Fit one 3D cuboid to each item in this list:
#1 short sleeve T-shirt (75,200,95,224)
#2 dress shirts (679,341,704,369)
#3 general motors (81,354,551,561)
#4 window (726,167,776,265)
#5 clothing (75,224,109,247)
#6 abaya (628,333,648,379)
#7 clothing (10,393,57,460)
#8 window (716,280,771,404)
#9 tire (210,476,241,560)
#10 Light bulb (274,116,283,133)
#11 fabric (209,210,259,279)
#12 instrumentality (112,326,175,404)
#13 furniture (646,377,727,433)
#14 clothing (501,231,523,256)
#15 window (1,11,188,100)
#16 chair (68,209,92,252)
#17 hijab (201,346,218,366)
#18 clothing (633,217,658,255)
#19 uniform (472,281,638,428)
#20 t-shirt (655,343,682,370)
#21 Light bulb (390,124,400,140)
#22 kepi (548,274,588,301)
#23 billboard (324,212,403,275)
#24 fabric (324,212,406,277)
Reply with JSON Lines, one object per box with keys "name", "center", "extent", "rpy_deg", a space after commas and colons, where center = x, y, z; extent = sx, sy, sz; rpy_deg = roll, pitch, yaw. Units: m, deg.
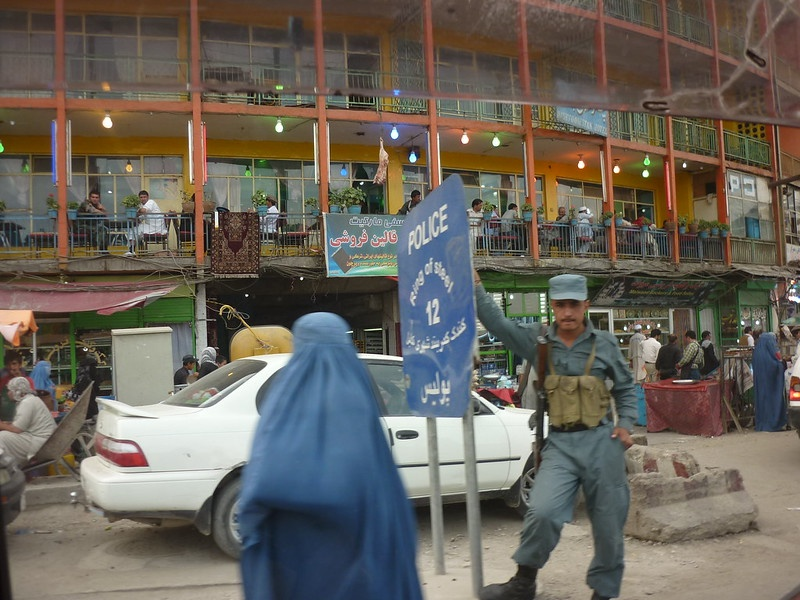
{"name": "short sleeve T-shirt", "center": [-5.940, -1.634, 18.770], "extent": [0.186, 0.451, 0.351], "rpy_deg": [-2, -25, -4]}
{"name": "dress shirts", "center": [5.125, 0.976, 17.430], "extent": [0.604, 0.546, 0.327], "rpy_deg": [2, 0, -37]}
{"name": "general motors", "center": [-0.941, 1.463, 9.954], "extent": [4.742, 1.435, 1.917], "rpy_deg": [-2, -1, -21]}
{"name": "window", "center": [9.697, -2.281, 27.498], "extent": [0.071, 2.697, 2.858], "rpy_deg": [-7, -6, 43]}
{"name": "clothing", "center": [-5.801, -1.195, 18.650], "extent": [0.022, 0.436, 0.426], "rpy_deg": [-35, -4, 29]}
{"name": "abaya", "center": [5.041, 1.224, 20.674], "extent": [0.312, 0.973, 0.455], "rpy_deg": [-4, -11, 17]}
{"name": "clothing", "center": [-4.263, 1.397, 11.397], "extent": [0.549, 0.678, 0.594], "rpy_deg": [7, 7, -8]}
{"name": "window", "center": [9.538, 0.678, 27.625], "extent": [1.127, 2.013, 1.172], "rpy_deg": [2, 1, -11]}
{"name": "tire", "center": [-1.574, 1.995, 9.049], "extent": [0.276, 0.772, 0.187], "rpy_deg": [-1, 2, -5]}
{"name": "Light bulb", "center": [-2.442, -3.535, 20.072], "extent": [0.170, 0.342, 0.169], "rpy_deg": [-11, -15, 32]}
{"name": "fabric", "center": [-3.094, -0.999, 18.717], "extent": [1.360, 1.669, 0.077], "rpy_deg": [0, -2, -12]}
{"name": "instrumentality", "center": [-3.313, 0.775, 13.012], "extent": [0.758, 0.949, 0.562], "rpy_deg": [-3, 13, -5]}
{"name": "furniture", "center": [4.468, 1.692, 15.598], "extent": [0.953, 0.575, 0.937], "rpy_deg": [0, 1, 28]}
{"name": "clothing", "center": [2.439, -1.212, 21.800], "extent": [0.593, 0.554, 0.029], "rpy_deg": [-1, 2, -32]}
{"name": "window", "center": [-1.822, -1.474, 5.934], "extent": [0.673, 0.397, 0.353], "rpy_deg": [0, -6, -13]}
{"name": "chair", "center": [-6.087, -1.216, 18.648], "extent": [0.427, 0.610, 0.415], "rpy_deg": [-8, 9, 46]}
{"name": "hijab", "center": [-2.976, 0.884, 15.528], "extent": [0.271, 0.277, 0.205], "rpy_deg": [9, -18, -39]}
{"name": "clothing", "center": [5.957, -1.468, 24.409], "extent": [0.309, 0.750, 0.304], "rpy_deg": [7, 7, 44]}
{"name": "uniform", "center": [1.227, 0.436, 7.714], "extent": [1.182, 1.132, 0.475], "rpy_deg": [0, 2, 11]}
{"name": "t-shirt", "center": [4.916, 1.054, 18.173], "extent": [0.315, 0.551, 0.559], "rpy_deg": [4, 2, -35]}
{"name": "Light bulb", "center": [-0.125, -3.521, 21.095], "extent": [0.191, 0.247, 0.186], "rpy_deg": [-2, 1, 15]}
{"name": "kepi", "center": [1.355, -0.098, 7.977], "extent": [0.465, 0.219, 0.678], "rpy_deg": [-2, 0, 12]}
{"name": "billboard", "center": [-0.604, -1.028, 19.185], "extent": [1.814, 1.205, 0.190], "rpy_deg": [2, 6, 30]}
{"name": "fabric", "center": [-0.608, -1.029, 19.182], "extent": [1.815, 1.205, 0.166], "rpy_deg": [2, 6, 30]}
